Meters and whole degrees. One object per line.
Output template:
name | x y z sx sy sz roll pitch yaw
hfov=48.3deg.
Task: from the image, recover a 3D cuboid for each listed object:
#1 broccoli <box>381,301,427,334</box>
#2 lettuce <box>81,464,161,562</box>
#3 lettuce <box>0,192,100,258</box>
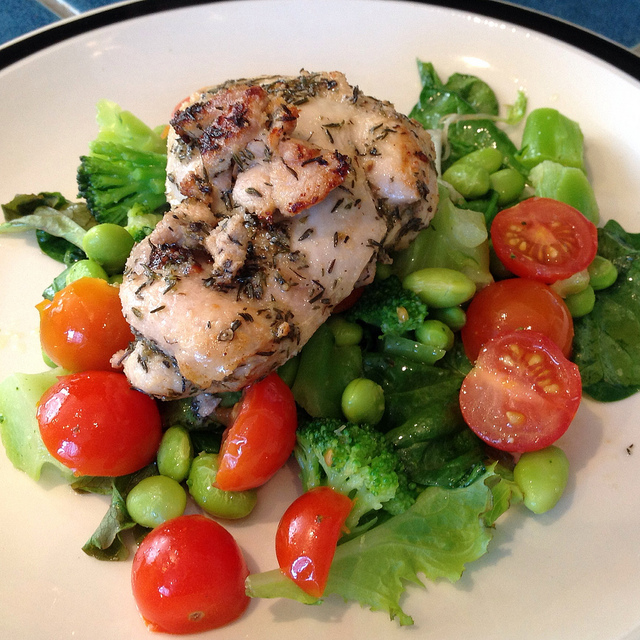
broccoli | 0.493 0.008 4.207 0.252 0.261 0.163 -1 71 1
lettuce | -1.038 1.007 3.755 0.438 0.152 0.392 14 51 -5
lettuce | -1.845 -0.630 4.836 0.533 0.198 0.439 21 59 -22
